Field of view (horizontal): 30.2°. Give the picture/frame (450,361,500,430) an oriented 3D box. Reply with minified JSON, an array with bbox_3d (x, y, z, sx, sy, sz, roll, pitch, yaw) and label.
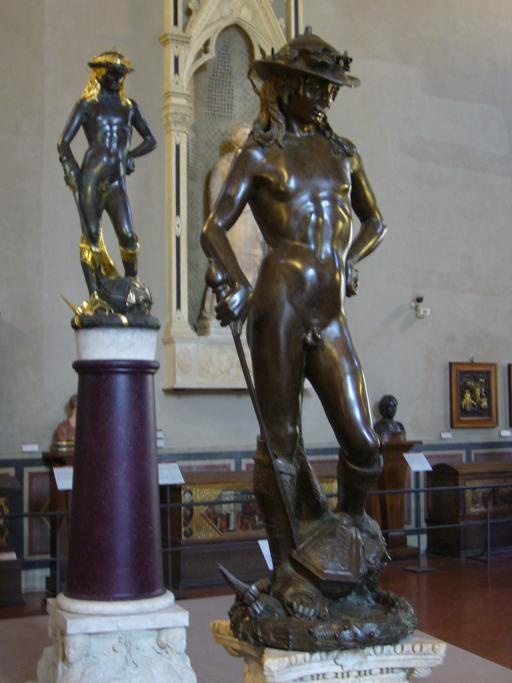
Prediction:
[{"bbox_3d":[2.033,0.505,8.894,0.554,0.745,0.066,2,-3,-32],"label":"picture/frame"}]

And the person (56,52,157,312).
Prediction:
[{"bbox_3d":[-0.559,-0.642,3.662,0.380,0.954,0.464,0,-2,-24],"label":"person"}]

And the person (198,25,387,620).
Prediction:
[{"bbox_3d":[0.149,-0.114,2.953,0.635,1.820,0.443,-1,-2,-11],"label":"person"}]
